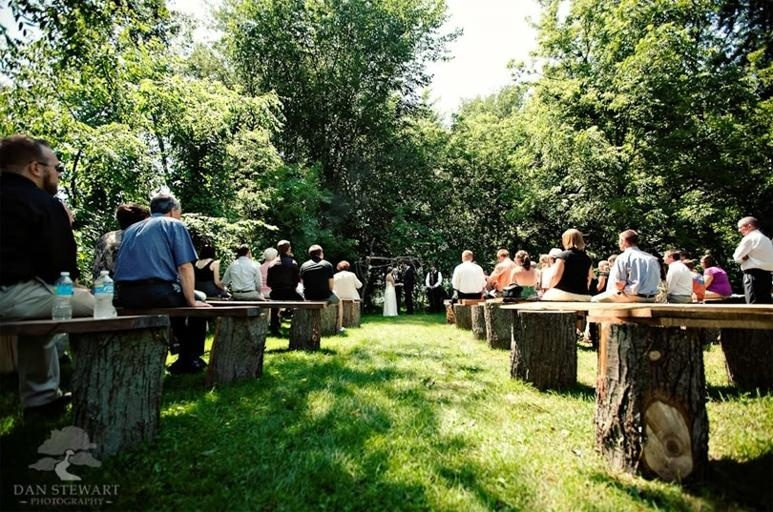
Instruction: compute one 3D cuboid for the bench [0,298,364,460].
[{"bbox_3d":[-2.878,1.709,8.608,1.056,1.919,4.191,-1,-3,33],"label":"bench"}]
